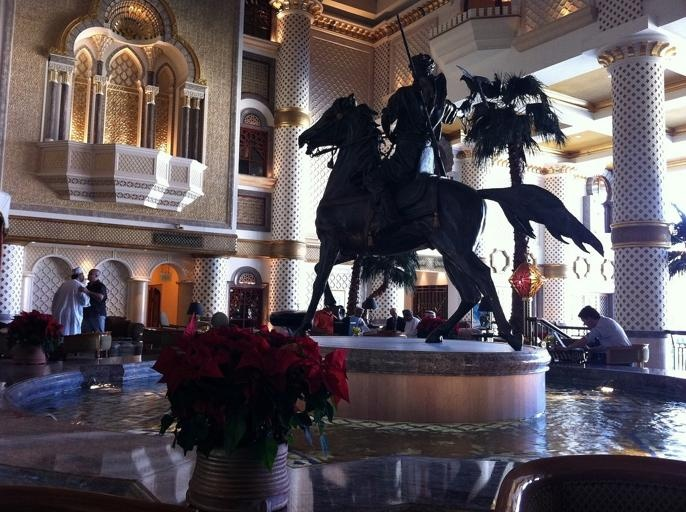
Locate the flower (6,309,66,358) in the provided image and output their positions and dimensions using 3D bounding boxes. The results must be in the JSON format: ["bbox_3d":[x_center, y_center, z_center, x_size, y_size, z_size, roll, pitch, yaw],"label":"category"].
[{"bbox_3d":[-3.002,0.772,5.824,0.437,0.429,0.445,-6,-11,31],"label":"flower"}]

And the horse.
[{"bbox_3d":[0.718,-0.258,4.729,2.475,1.945,0.607,4,-6,14],"label":"horse"}]

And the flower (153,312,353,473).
[{"bbox_3d":[-0.382,0.476,2.130,0.515,0.391,0.542,3,9,10],"label":"flower"}]

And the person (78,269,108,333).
[{"bbox_3d":[-3.797,0.781,8.878,0.408,1.154,0.386,-9,21,-41],"label":"person"}]

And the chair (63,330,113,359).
[{"bbox_3d":[-3.222,1.053,7.186,0.591,0.371,0.521,2,-8,6],"label":"chair"}]
